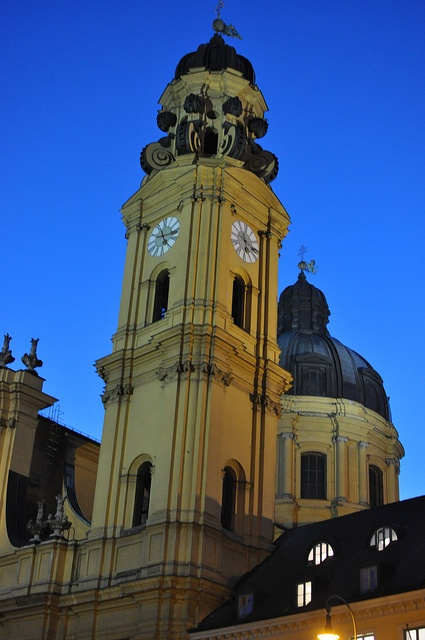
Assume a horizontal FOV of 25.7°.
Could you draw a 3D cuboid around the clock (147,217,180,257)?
[{"bbox_3d":[-1.939,-3.292,37.279,0.138,1.500,1.460,33,-44,-27],"label":"clock"}]
